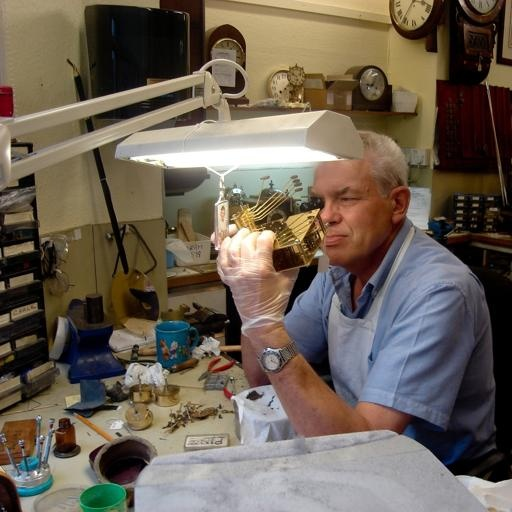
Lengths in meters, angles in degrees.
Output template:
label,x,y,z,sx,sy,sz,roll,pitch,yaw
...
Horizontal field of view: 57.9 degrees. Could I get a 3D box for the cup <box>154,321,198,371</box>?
label,x,y,z,sx,sy,sz,roll,pitch,yaw
cup,-0.289,0.315,1.630,0.159,0.141,0.127,-1,2,-29

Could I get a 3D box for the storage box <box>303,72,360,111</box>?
label,x,y,z,sx,sy,sz,roll,pitch,yaw
storage box,0.595,-1.305,3.707,0.436,0.306,0.449,3,16,7

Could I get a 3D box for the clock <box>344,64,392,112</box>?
label,x,y,z,sx,sy,sz,roll,pitch,yaw
clock,0.940,-1.403,3.919,0.448,0.429,0.237,-14,18,-43

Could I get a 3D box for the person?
label,x,y,z,sx,sy,sz,roll,pitch,yaw
person,0.293,0.099,1.258,0.793,0.877,0.570,0,0,-6

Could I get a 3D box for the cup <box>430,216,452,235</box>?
label,x,y,z,sx,sy,sz,roll,pitch,yaw
cup,1.574,-0.269,3.948,0.156,0.083,0.228,2,23,12

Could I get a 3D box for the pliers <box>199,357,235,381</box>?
label,x,y,z,sx,sy,sz,roll,pitch,yaw
pliers,-0.136,0.388,1.610,0.042,0.013,0.151,9,11,19

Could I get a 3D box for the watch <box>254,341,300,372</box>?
label,x,y,z,sx,sy,sz,roll,pitch,yaw
watch,0.046,0.227,1.015,0.078,0.049,0.073,-35,-13,21
